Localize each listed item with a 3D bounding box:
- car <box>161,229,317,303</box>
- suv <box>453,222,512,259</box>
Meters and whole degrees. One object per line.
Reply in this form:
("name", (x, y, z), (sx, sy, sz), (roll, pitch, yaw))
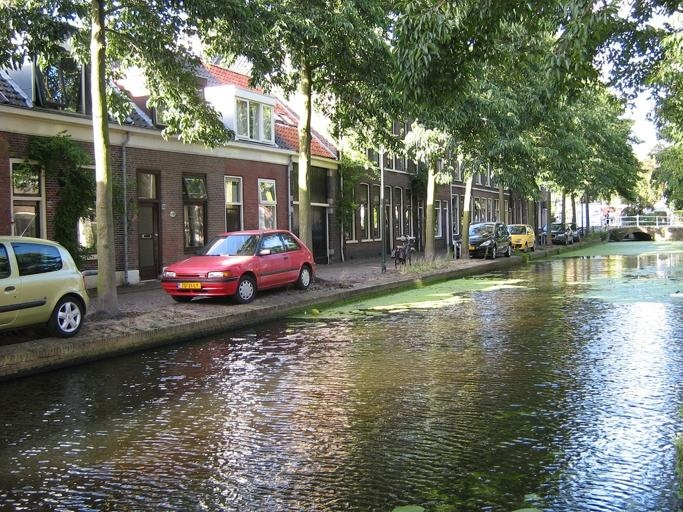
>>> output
("car", (-2.602, 0.207, 16.235), (1.907, 1.743, 3.660), (1, 3, 33))
("suv", (7.910, -0.821, 33.693), (1.787, 1.675, 3.483), (-2, -4, 27))
